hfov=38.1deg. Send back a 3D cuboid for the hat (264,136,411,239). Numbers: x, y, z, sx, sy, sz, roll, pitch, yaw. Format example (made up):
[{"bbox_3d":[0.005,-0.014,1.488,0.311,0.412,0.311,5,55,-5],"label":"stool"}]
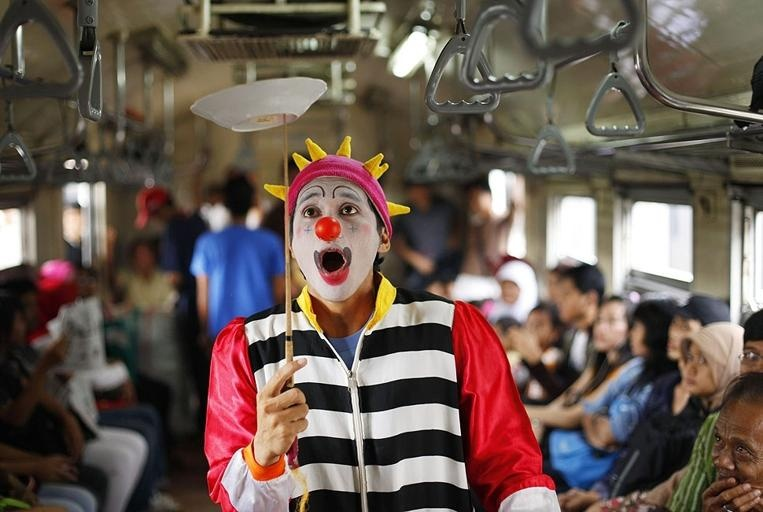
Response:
[{"bbox_3d":[-0.301,-0.388,6.128,0.525,0.411,0.674,-2,-22,8],"label":"hat"}]
